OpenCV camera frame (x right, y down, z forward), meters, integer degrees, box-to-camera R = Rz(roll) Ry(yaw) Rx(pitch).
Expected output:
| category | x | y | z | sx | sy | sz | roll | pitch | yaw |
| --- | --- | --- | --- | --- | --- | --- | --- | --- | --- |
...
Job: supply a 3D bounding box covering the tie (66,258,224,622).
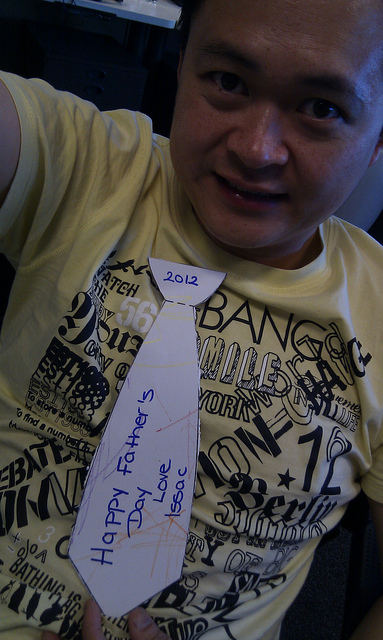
| category | x | y | z | sx | sy | sz | roll | pitch | yaw |
| --- | --- | --- | --- | --- | --- | --- | --- | --- | --- |
| tie | -0.048 | 0.151 | 0.651 | 0.139 | 0.356 | 0.284 | 16 | 32 | -7 |
